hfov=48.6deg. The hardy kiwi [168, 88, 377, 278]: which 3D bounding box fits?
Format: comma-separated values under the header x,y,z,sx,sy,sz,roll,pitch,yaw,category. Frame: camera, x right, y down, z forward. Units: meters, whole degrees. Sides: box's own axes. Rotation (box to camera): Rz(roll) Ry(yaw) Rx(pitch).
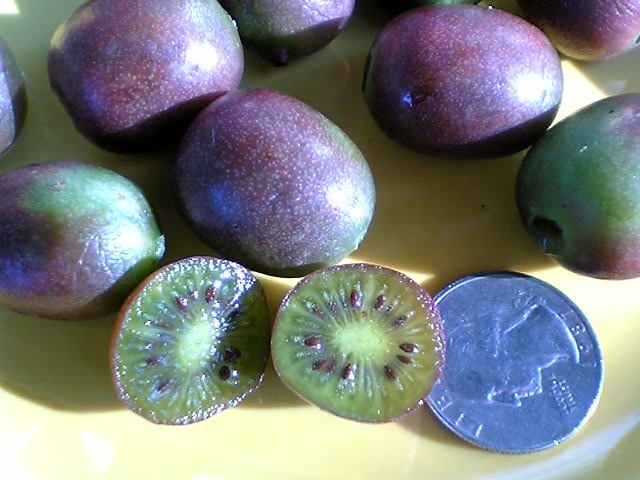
x,y,z,sx,sy,sz,roll,pitch,yaw,category
-0.118,-0.130,1.456,0.260,0.366,0.323,6,-63,-34,hardy kiwi
